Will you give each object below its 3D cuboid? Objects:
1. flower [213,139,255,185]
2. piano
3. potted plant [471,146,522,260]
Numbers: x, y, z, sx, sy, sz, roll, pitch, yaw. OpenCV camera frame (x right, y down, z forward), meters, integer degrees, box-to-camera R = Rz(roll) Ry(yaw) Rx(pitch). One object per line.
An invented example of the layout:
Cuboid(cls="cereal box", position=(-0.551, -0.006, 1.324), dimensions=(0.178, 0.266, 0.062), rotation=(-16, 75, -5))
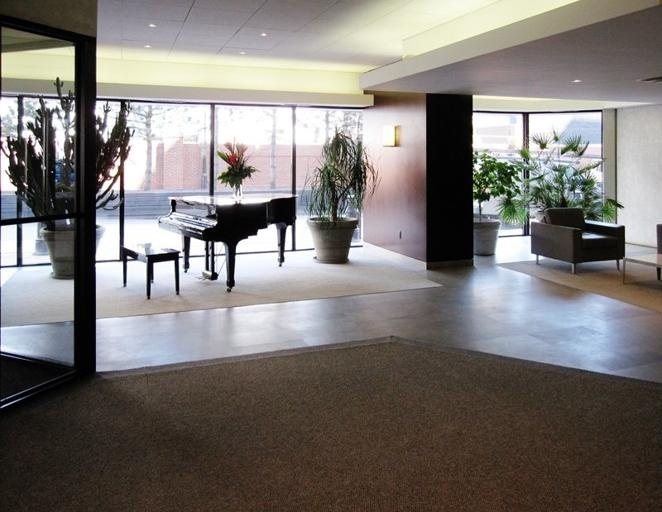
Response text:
Cuboid(cls="flower", position=(-1.441, -1.437, 7.777), dimensions=(0.588, 0.644, 0.588), rotation=(-10, 14, -38))
Cuboid(cls="piano", position=(-1.362, -0.475, 7.461), dimensions=(1.982, 1.194, 1.357), rotation=(-2, 6, -37))
Cuboid(cls="potted plant", position=(3.123, -1.012, 9.516), dimensions=(0.838, 1.935, 1.592), rotation=(5, 10, 19))
